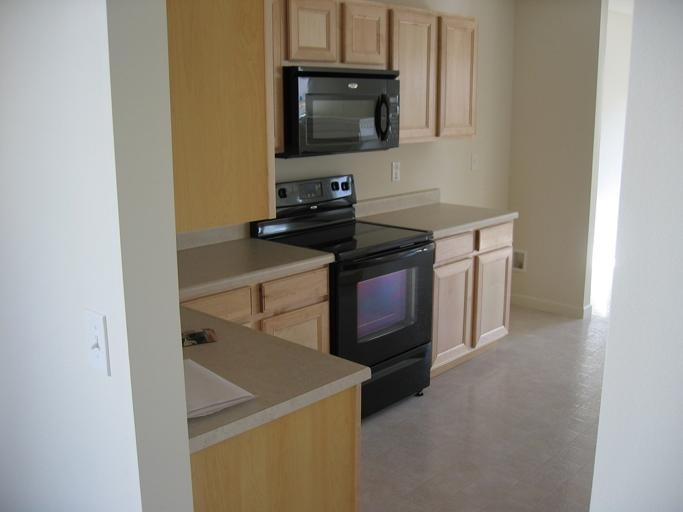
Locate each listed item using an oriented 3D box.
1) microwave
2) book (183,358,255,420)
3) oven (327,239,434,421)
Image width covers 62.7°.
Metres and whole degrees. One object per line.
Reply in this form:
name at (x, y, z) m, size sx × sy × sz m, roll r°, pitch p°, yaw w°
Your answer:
microwave at (-0.040, -0.742, 2.890) m, size 0.686 × 0.423 × 0.323 m, roll -9°, pitch 15°, yaw -33°
book at (-0.291, 0.320, 1.284) m, size 0.143 × 0.024 × 0.207 m, roll -13°, pitch 4°, yaw -20°
oven at (0.090, 0.321, 2.970) m, size 0.692 × 0.892 × 0.655 m, roll -6°, pitch 14°, yaw -19°
